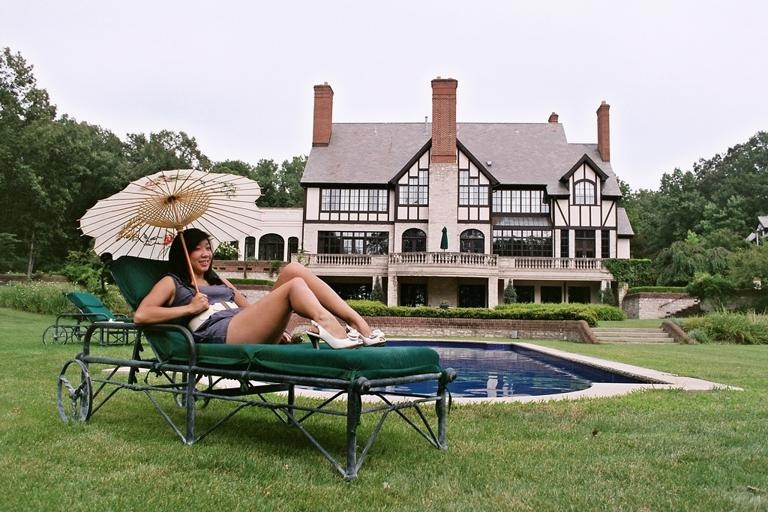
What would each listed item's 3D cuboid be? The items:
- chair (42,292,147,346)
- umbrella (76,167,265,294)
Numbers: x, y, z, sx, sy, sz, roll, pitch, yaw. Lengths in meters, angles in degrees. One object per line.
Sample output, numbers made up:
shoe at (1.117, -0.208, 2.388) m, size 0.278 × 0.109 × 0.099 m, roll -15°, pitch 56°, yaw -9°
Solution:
chair at (-9.627, 2.133, 22.650) m, size 3.022 × 1.808 × 1.623 m, roll 0°, pitch -7°, yaw -9°
umbrella at (-4.340, -0.788, 14.018) m, size 2.888 × 2.454 × 2.871 m, roll 26°, pitch -64°, yaw -43°
